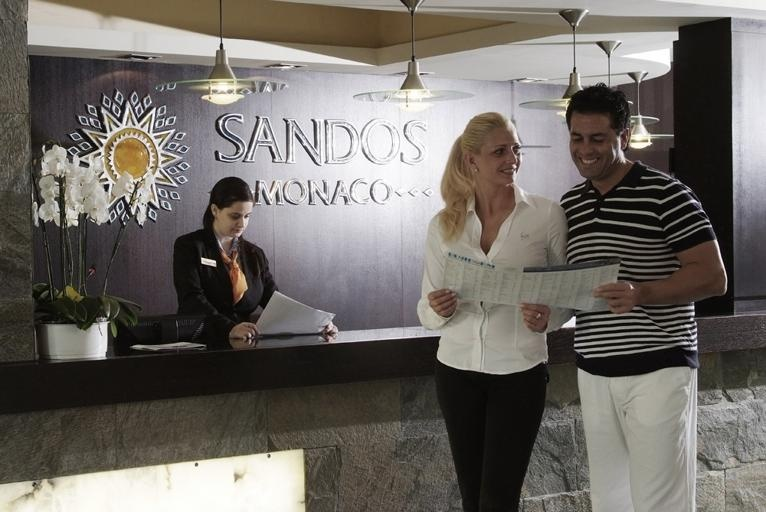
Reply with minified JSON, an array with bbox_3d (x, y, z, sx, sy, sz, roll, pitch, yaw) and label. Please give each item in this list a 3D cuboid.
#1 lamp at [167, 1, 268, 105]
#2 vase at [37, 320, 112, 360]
[{"bbox_3d":[-0.971,-1.139,3.643,0.650,0.343,0.401,-2,5,-4],"label":"lamp"},{"bbox_3d":[-1.418,0.365,2.717,0.238,0.101,0.216,-1,-3,8],"label":"vase"}]
